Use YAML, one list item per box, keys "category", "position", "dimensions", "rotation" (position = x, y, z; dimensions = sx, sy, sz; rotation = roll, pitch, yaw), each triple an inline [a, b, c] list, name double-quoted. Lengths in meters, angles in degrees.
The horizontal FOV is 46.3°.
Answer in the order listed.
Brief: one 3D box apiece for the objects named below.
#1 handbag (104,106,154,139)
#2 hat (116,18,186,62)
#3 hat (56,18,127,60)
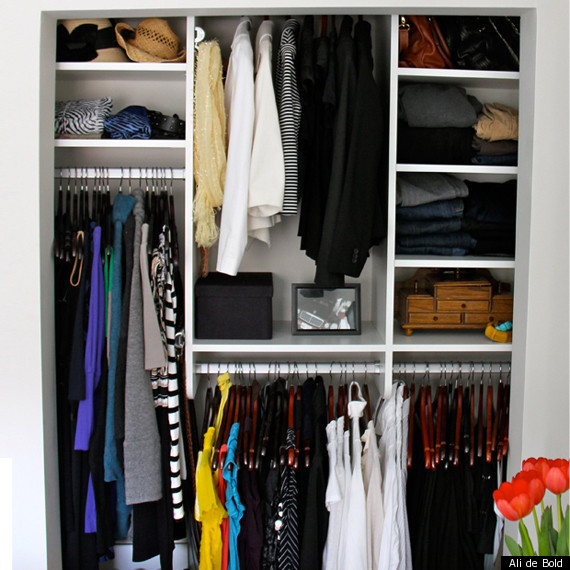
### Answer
- category: "handbag"
  position: [-0.595, -0.618, 2.567]
  dimensions: [0.106, 0.071, 0.161]
  rotation: [7, 19, 24]
- category: "hat"
  position: [-0.516, -0.944, 2.558]
  dimensions: [0.185, 0.208, 0.075]
  rotation: [-15, -16, -23]
- category: "hat"
  position: [-0.743, -0.892, 2.543]
  dimensions: [0.220, 0.174, 0.189]
  rotation: [1, 3, -37]
